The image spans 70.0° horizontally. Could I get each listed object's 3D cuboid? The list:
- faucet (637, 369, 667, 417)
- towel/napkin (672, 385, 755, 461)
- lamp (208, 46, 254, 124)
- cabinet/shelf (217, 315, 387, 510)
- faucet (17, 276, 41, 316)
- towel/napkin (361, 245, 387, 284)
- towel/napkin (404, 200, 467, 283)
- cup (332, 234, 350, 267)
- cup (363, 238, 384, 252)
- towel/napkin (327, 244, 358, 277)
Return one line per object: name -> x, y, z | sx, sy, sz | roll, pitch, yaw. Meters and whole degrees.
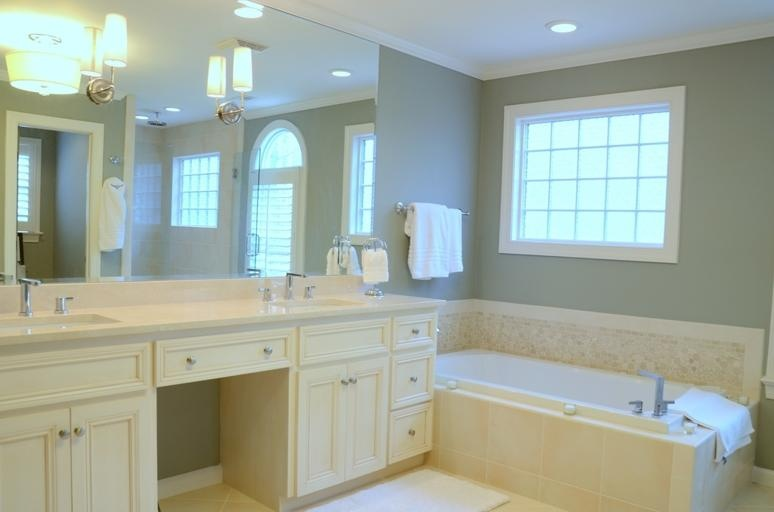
faucet -> 1.745, 0.848, 3.597 | 0.150, 0.316, 0.587 | 2, 4, 27
towel/napkin -> 2.183, 1.063, 3.645 | 0.498, 0.179, 0.494 | -6, 8, -45
lamp -> -1.034, -1.120, 3.640 | 0.276, 0.488, 0.115 | 0, -2, -4
cabinet/shelf -> -0.538, 1.068, 4.060 | 1.170, 1.621, 1.131 | 1, -1, -45
faucet -> -1.933, 0.220, 2.981 | 0.093, 0.191, 0.240 | -4, 5, -34
towel/napkin -> -0.085, 0.076, 4.169 | 0.199, 0.252, 0.083 | -2, 1, -6
towel/napkin -> 0.415, -0.127, 4.702 | 0.132, 0.638, 0.674 | 0, 0, 45
cup -> -0.337, -0.021, 4.205 | 0.104, 0.199, 0.194 | 19, -15, -14
cup -> -0.105, -0.079, 4.286 | 0.118, 0.113, 0.119 | 2, -1, 0
towel/napkin -> -0.345, 0.032, 4.177 | 0.237, 0.223, 0.082 | -1, 9, -34
